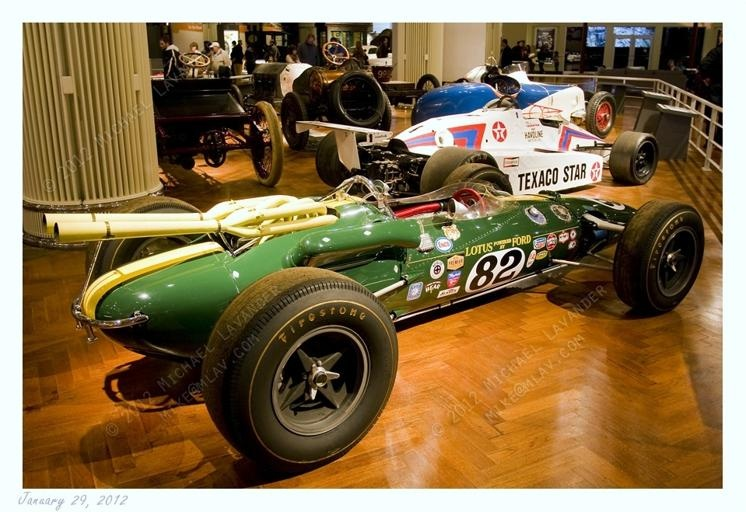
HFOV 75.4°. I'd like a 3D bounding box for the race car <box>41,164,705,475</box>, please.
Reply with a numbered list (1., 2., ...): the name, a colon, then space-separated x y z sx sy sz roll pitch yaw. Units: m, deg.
1. race car: 0.232 -0.065 3.709 4.381 1.354 2.533 -14 24 -30
